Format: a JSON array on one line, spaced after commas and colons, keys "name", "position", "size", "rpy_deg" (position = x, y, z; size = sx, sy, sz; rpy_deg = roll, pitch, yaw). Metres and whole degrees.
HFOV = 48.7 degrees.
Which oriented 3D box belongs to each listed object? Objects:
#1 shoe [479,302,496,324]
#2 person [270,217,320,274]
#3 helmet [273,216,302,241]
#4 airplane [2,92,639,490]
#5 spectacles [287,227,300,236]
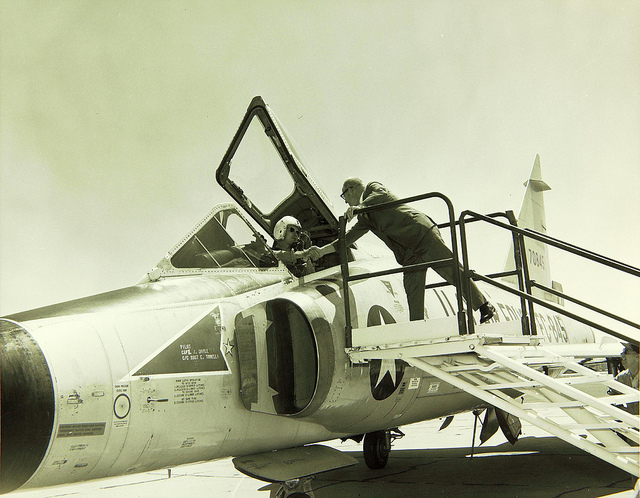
[{"name": "shoe", "position": [1.797, 0.680, 7.669], "size": [0.186, 0.170, 0.184], "rpy_deg": [13, -15, -41]}, {"name": "person", "position": [-0.388, -0.062, 8.763], "size": [0.709, 0.752, 0.505], "rpy_deg": [-8, -7, 27]}, {"name": "helmet", "position": [-0.387, -0.265, 8.892], "size": [0.313, 0.316, 0.268], "rpy_deg": [-6, -2, 13]}, {"name": "airplane", "position": [0.100, 0.087, 7.873], "size": [6.593, 4.254, 3.712], "rpy_deg": [2, -10, -28]}, {"name": "spectacles", "position": [-0.328, -0.233, 8.834], "size": [0.033, 0.092, 0.176], "rpy_deg": [-10, -12, 42]}]
